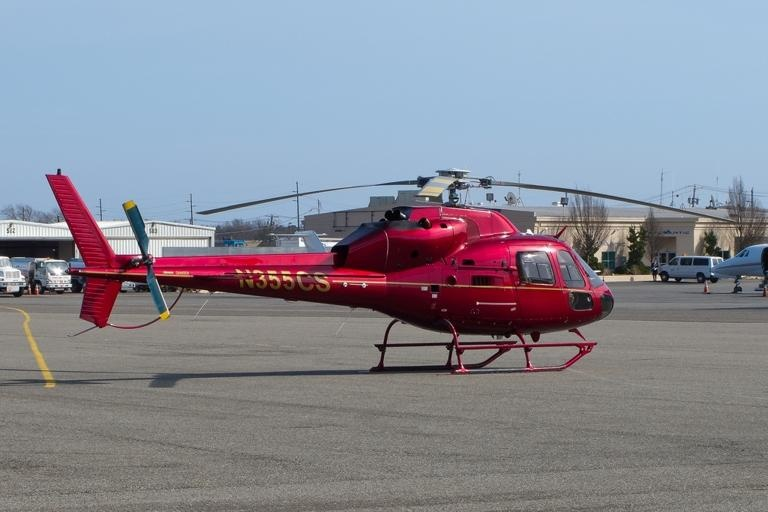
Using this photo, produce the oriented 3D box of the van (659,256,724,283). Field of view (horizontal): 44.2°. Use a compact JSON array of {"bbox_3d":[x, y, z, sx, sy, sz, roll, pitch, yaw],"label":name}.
[{"bbox_3d":[20.013,0.798,61.181,4.597,1.485,2.287,3,2,35],"label":"van"}]
